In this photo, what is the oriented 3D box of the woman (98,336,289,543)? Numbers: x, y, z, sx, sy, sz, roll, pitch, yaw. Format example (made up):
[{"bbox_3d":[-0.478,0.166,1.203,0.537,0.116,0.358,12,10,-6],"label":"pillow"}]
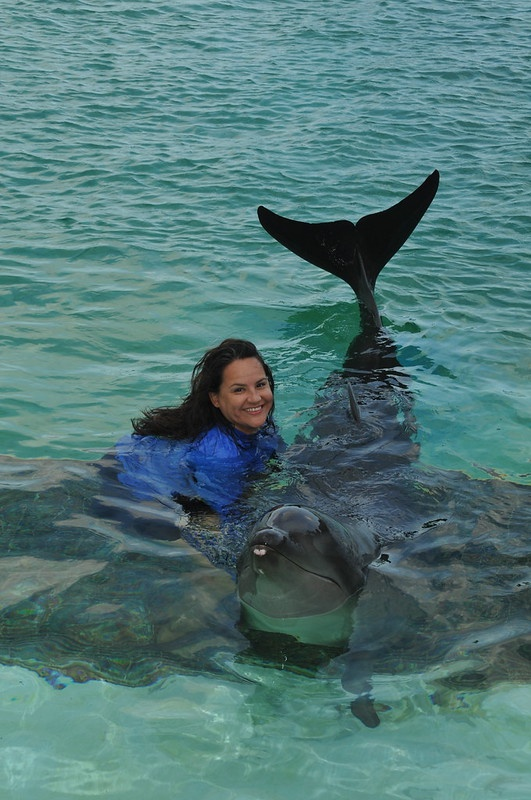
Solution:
[{"bbox_3d":[-0.364,0.169,5.205,0.626,0.659,1.400,37,12,-6],"label":"woman"}]
